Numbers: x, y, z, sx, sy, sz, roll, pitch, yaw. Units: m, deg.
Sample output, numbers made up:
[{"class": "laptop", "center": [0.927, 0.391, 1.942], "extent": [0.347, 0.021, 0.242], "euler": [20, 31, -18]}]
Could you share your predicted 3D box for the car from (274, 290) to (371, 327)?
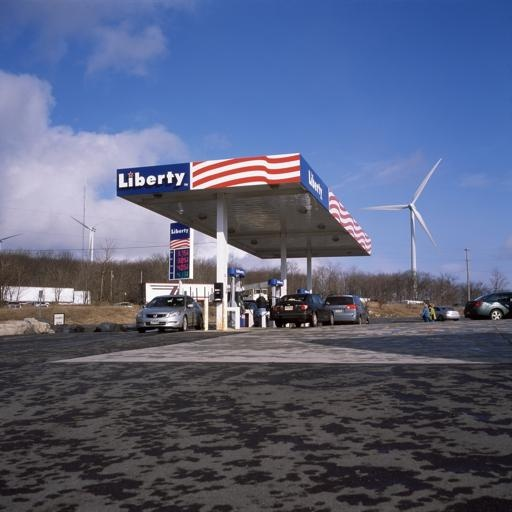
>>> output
[{"class": "car", "center": [3.041, 2.484, 25.661], "extent": [1.579, 1.575, 6.216], "euler": [-5, -9, 33]}]

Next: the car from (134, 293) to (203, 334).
[{"class": "car", "center": [-3.319, 2.194, 21.718], "extent": [1.701, 1.511, 2.634], "euler": [-3, -8, 15]}]

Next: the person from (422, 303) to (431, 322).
[{"class": "person", "center": [11.709, 3.905, 38.783], "extent": [0.519, 1.237, 2.536], "euler": [-3, -8, 17]}]
